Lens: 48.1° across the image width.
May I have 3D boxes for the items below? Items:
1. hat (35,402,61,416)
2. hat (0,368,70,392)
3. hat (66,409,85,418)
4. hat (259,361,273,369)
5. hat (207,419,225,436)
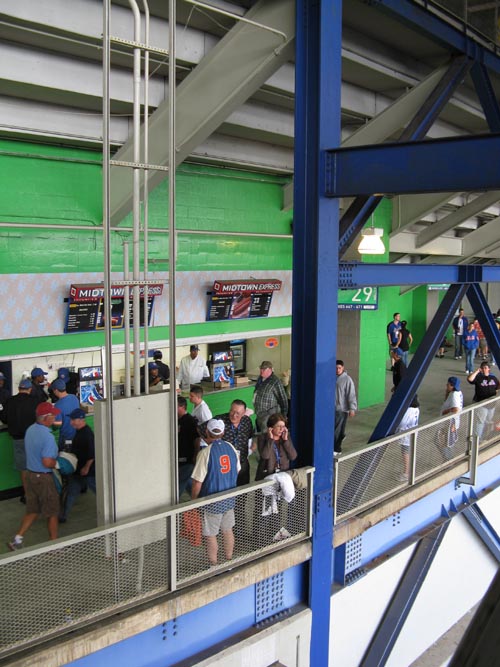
[{"bbox_3d":[-1.911,0.721,5.310,0.130,0.106,0.182,11,8,26],"label":"hat"},{"bbox_3d":[-2.698,0.582,6.955,0.525,0.252,0.141,3,8,-41],"label":"hat"},{"bbox_3d":[-1.873,0.882,6.033,0.168,0.095,0.116,12,-8,-20],"label":"hat"},{"bbox_3d":[0.220,0.420,7.236,0.139,0.108,0.105,3,-1,-27],"label":"hat"},{"bbox_3d":[-0.271,0.742,4.362,0.105,0.142,0.144,1,-14,-7],"label":"hat"}]
